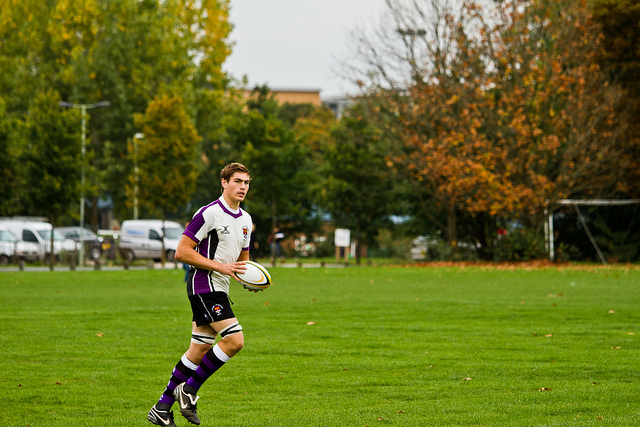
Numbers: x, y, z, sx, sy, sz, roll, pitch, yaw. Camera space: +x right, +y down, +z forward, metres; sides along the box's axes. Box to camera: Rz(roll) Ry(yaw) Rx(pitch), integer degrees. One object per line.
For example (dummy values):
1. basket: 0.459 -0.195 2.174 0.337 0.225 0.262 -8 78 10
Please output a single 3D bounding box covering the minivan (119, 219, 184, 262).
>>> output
1. minivan: -7.586 1.330 58.461 2.867 1.775 4.337 -4 11 -14
